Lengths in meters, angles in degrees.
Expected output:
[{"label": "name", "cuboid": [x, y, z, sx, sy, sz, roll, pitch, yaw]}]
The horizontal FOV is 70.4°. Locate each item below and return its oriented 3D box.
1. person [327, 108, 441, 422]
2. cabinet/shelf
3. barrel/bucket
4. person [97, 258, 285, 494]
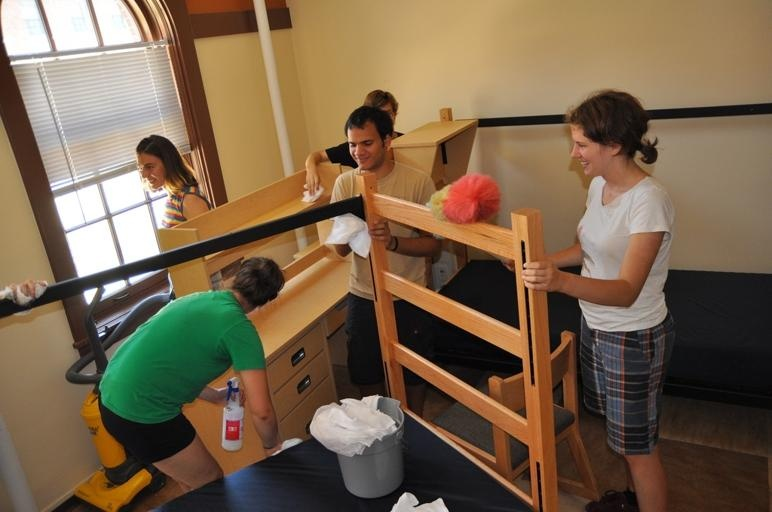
[{"label": "person", "cuboid": [0.018, 0.074, 3.293, 0.632, 1.799, 0.765, -5, 24, -5]}, {"label": "cabinet/shelf", "cuboid": [-0.365, 0.296, 3.242, 0.735, 1.726, 1.953, 13, 40, 24]}, {"label": "barrel/bucket", "cuboid": [-0.002, 0.860, 2.585, 0.352, 0.355, 0.405, -1, 18, 10]}, {"label": "person", "cuboid": [-1.027, 0.682, 2.960, 0.941, 1.371, 0.658, -18, 52, -32]}]
